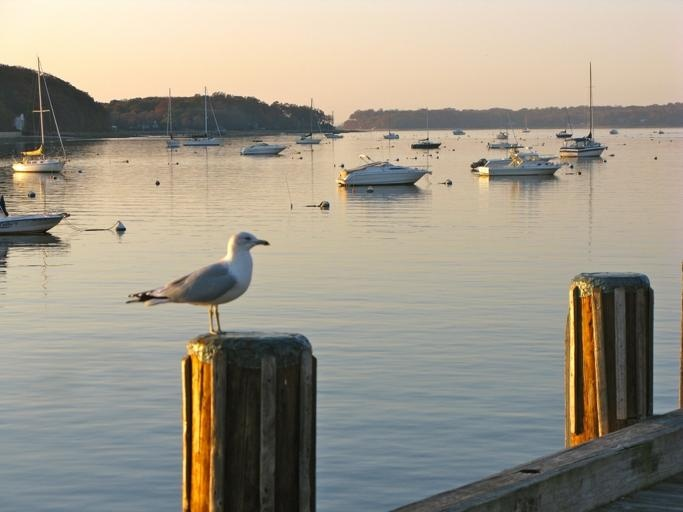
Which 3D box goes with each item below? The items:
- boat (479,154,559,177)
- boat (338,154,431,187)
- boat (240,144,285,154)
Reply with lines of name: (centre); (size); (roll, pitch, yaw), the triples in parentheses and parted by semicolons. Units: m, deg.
boat: (9.112, -4.420, 85.630); (3.320, 0.974, 1.714); (1, 0, -3)
boat: (1.759, -3.651, 77.784); (3.808, 1.007, 1.188); (-3, 4, -15)
boat: (-6.379, -8.492, 135.407); (1.832, 0.931, 4.370); (0, 4, 29)
